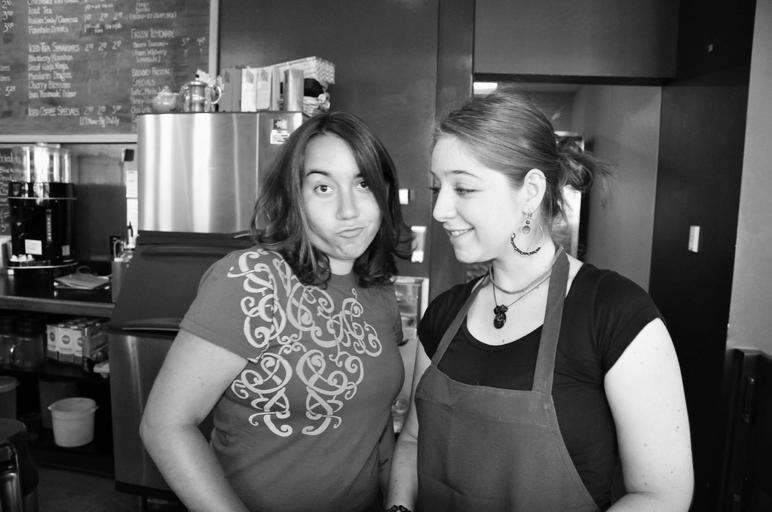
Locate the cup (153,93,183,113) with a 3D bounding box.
[{"bbox_3d":[-1.304,-0.890,4.195,0.171,0.122,0.168,-1,8,0],"label":"cup"}]

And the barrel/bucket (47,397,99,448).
[{"bbox_3d":[-1.913,0.986,4.370,0.267,0.225,0.299,0,5,-17],"label":"barrel/bucket"}]

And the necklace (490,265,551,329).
[{"bbox_3d":[0.498,0.160,2.652,0.216,0.079,0.219,0,42,49],"label":"necklace"}]

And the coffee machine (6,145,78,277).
[{"bbox_3d":[-2.305,-0.324,4.757,0.403,0.841,0.542,-1,5,-28],"label":"coffee machine"}]
